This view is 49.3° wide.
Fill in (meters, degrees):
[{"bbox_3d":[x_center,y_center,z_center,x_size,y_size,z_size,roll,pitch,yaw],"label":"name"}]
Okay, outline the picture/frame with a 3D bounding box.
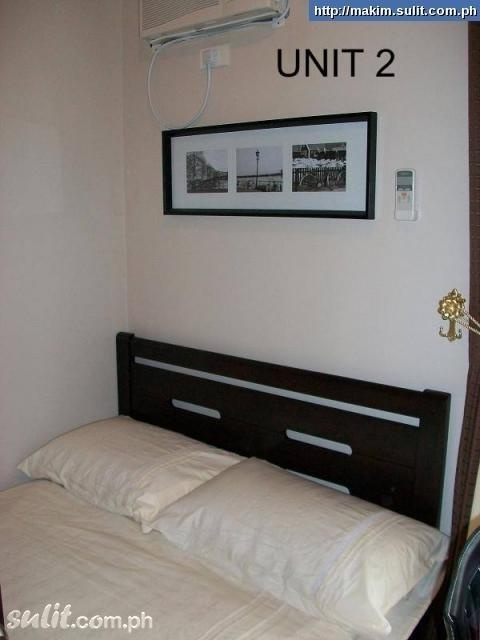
[{"bbox_3d":[0.041,-0.499,1.732,0.886,0.371,0.055,5,7,42],"label":"picture/frame"}]
